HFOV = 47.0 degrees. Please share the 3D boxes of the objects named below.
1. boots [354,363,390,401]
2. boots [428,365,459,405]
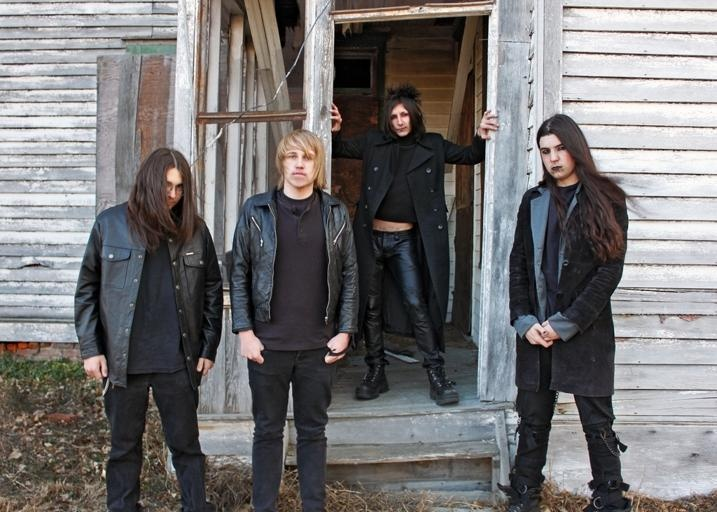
[{"bbox_3d":[0.104,0.998,6.619,0.142,0.254,0.384,3,9,34],"label":"boots"},{"bbox_3d":[0.665,1.008,6.418,0.211,0.254,0.322,-2,7,-10],"label":"boots"}]
